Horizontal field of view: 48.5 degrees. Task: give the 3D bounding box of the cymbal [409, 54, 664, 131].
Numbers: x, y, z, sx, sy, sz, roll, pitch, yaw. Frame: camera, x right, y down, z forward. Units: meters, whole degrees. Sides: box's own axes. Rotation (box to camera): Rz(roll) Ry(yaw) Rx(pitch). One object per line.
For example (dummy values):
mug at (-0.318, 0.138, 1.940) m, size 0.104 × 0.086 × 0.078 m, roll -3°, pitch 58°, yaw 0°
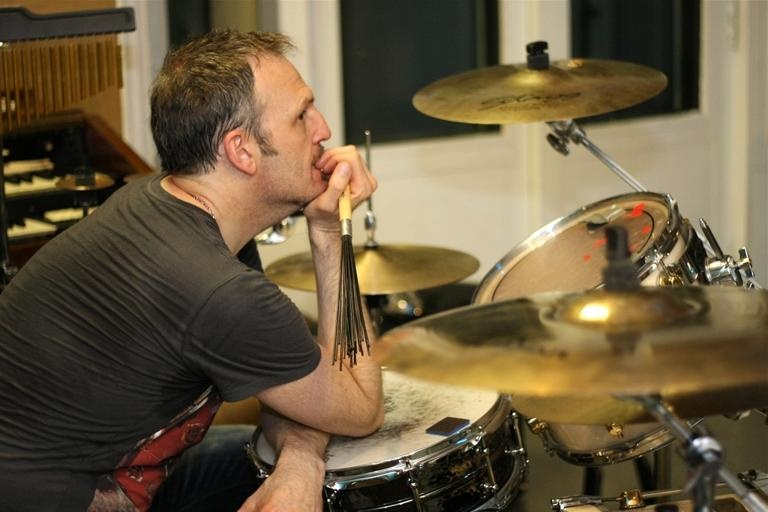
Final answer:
cymbal at (0.424, -0.486, 2.418) m, size 0.656 × 0.137 × 0.627 m, roll -6°, pitch 21°, yaw -22°
